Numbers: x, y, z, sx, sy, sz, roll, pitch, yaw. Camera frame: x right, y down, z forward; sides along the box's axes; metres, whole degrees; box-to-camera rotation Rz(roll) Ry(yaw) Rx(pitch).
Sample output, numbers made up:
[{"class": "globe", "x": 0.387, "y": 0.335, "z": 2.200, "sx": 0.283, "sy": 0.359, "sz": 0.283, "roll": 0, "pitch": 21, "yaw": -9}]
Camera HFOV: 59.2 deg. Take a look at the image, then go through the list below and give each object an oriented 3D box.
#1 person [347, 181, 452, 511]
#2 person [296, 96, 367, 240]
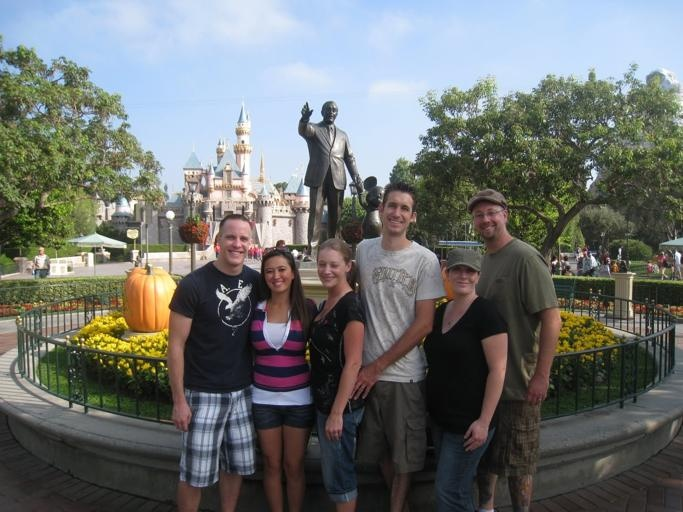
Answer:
[{"class": "person", "x": 0.510, "y": 0.855, "z": 5.935, "sx": 0.900, "sy": 2.937, "sz": 1.032, "roll": 0, "pitch": 0, "yaw": 24}, {"class": "person", "x": -0.213, "y": -1.469, "z": 9.982, "sx": 0.911, "sy": 2.785, "sz": 0.869, "roll": 3, "pitch": 5, "yaw": -24}]
